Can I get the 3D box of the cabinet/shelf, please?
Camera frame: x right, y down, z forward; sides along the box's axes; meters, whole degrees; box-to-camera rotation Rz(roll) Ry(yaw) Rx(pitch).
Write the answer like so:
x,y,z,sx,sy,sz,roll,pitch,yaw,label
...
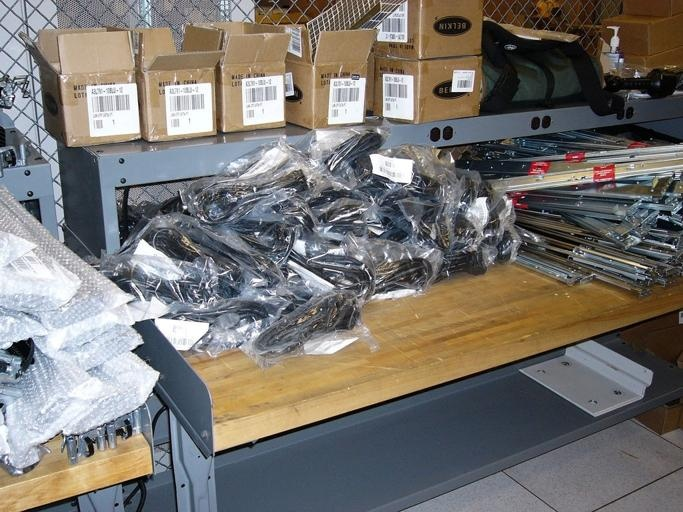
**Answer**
x,y,z,sx,sy,sz,roll,pitch,yaw,label
0.026,0.101,1.247,1.590,0.739,0.399,-12,26,-30,cabinet/shelf
